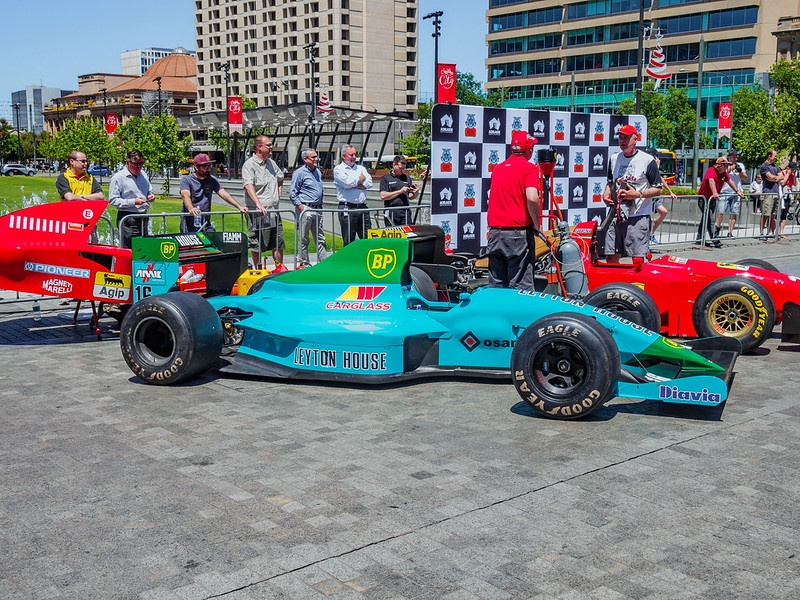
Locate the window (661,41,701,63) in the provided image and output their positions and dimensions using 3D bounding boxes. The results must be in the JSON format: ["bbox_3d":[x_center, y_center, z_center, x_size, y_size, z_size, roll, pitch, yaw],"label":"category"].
[{"bbox_3d":[27.990,-24.409,66.360,3.068,1.752,0.841,11,16,43],"label":"window"}]

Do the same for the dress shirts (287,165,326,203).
[{"bbox_3d":[-1.565,-2.011,11.551,0.422,0.714,0.732,11,22,31],"label":"dress shirts"}]

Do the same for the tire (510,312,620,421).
[{"bbox_3d":[1.367,0.545,5.423,0.746,0.790,0.304,6,-3,30],"label":"tire"}]

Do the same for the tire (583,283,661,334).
[{"bbox_3d":[2.283,0.027,6.885,0.590,0.624,0.585,-1,1,35],"label":"tire"}]

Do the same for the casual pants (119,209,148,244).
[{"bbox_3d":[-3.560,-0.969,8.935,0.046,0.590,0.598,4,5,27],"label":"casual pants"}]

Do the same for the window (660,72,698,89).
[{"bbox_3d":[27.193,-21.332,64.658,3.050,1.875,3.270,-11,16,-41],"label":"window"}]

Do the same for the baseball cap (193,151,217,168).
[{"bbox_3d":[-2.706,-1.934,9.145,0.312,0.136,0.214,-5,6,39],"label":"baseball cap"}]

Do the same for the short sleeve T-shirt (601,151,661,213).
[{"bbox_3d":[3.114,-1.580,8.984,0.433,0.856,0.790,-24,25,-33],"label":"short sleeve T-shirt"}]

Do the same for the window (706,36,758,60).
[{"bbox_3d":[31.765,-23.908,63.910,4.269,1.766,0.546,10,16,40],"label":"window"}]

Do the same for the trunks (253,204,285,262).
[{"bbox_3d":[-2.059,-0.994,10.436,0.524,0.718,0.328,1,-4,-29],"label":"trunks"}]

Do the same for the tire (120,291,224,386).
[{"bbox_3d":[-2.251,0.371,6.588,0.894,0.914,0.519,5,7,22],"label":"tire"}]

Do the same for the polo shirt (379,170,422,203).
[{"bbox_3d":[-0.077,-2.101,12.428,0.726,0.682,0.525,-8,11,-40],"label":"polo shirt"}]

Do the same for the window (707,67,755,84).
[{"bbox_3d":[31.202,-20.903,62.973,4.198,1.666,2.463,6,14,29],"label":"window"}]

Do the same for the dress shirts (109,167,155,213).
[{"bbox_3d":[-3.737,-1.535,9.426,0.443,0.644,0.851,4,14,18],"label":"dress shirts"}]

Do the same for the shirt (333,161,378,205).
[{"bbox_3d":[-0.825,-2.062,11.862,0.751,0.745,0.535,-7,6,-44],"label":"shirt"}]
